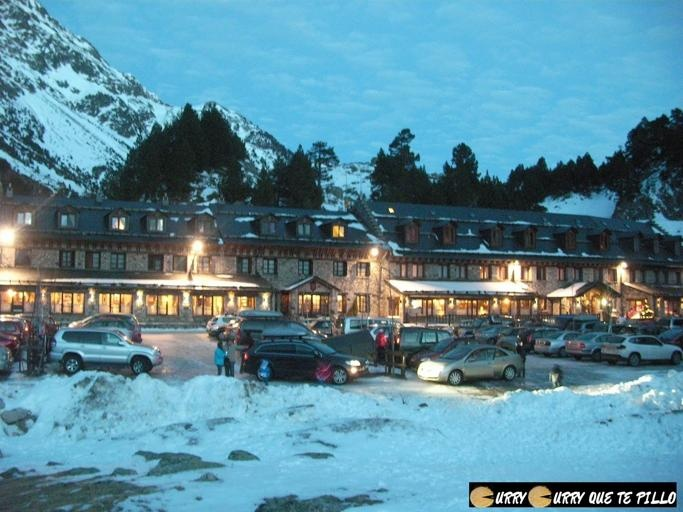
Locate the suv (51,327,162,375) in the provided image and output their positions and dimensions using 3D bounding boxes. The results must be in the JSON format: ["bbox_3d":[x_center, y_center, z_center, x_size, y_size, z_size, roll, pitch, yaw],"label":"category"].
[{"bbox_3d":[-10.348,4.345,36.650,4.351,1.829,2.289,0,-1,-9],"label":"suv"}]

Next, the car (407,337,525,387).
[{"bbox_3d":[5.610,4.681,36.882,3.952,1.474,1.987,3,-6,-21],"label":"car"}]

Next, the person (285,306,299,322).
[{"bbox_3d":[-3.801,4.449,63.290,0.797,1.488,0.793,7,-25,-34],"label":"person"}]

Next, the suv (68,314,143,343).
[{"bbox_3d":[-12.195,4.150,42.573,3.476,1.701,2.081,5,-2,-1],"label":"suv"}]

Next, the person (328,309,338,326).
[{"bbox_3d":[-0.649,4.809,66.415,0.756,1.358,0.757,1,-4,-17],"label":"person"}]
